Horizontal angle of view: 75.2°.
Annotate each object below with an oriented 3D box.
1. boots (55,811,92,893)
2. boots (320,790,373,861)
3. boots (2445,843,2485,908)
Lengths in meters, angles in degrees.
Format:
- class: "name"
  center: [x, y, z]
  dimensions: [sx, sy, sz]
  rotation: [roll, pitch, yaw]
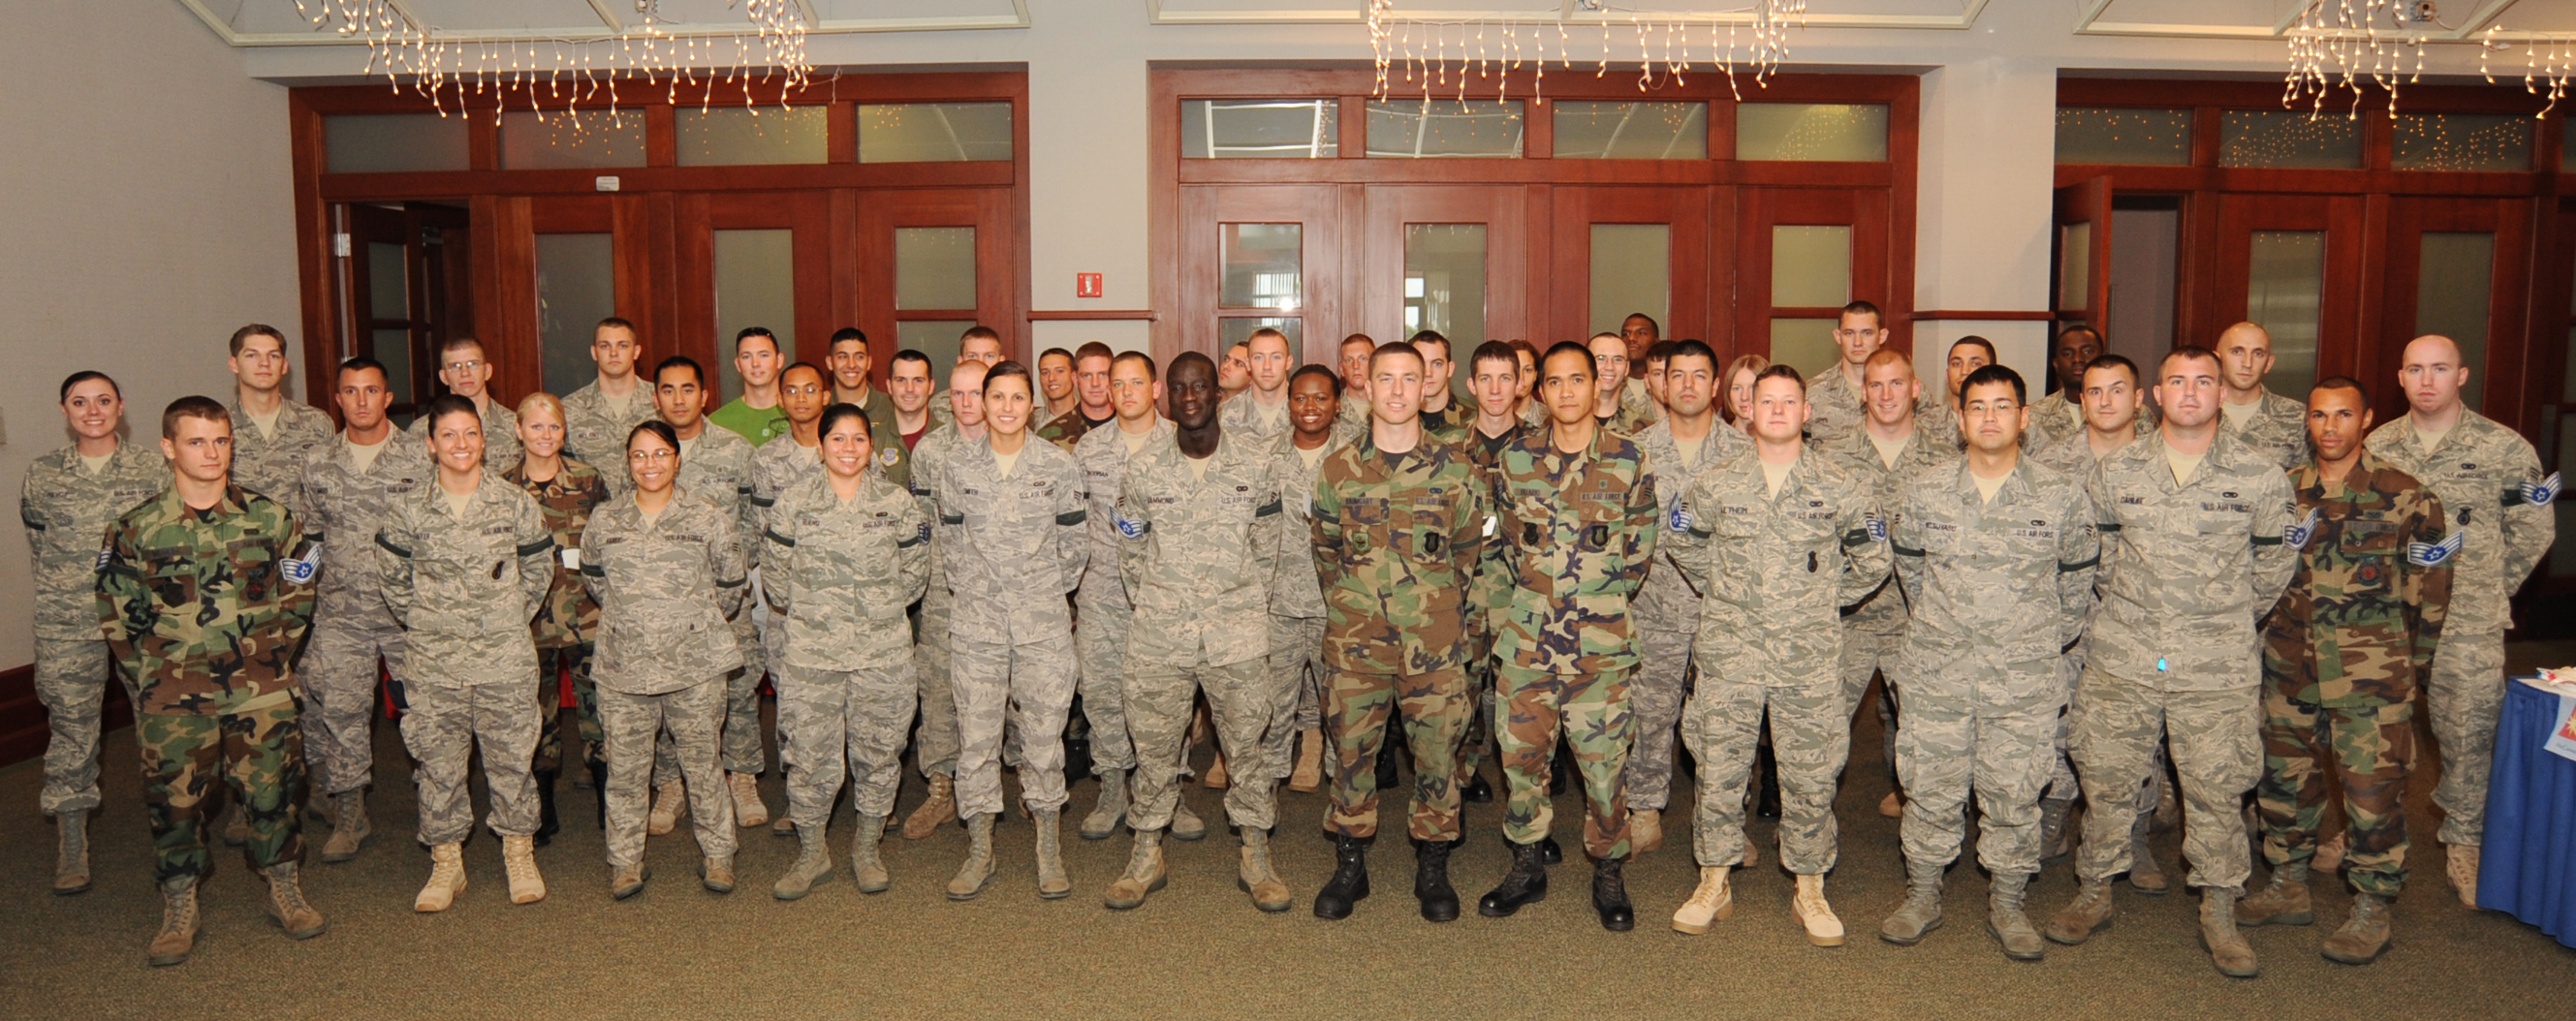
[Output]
- class: "boots"
  center: [-9.844, 2.716, 13.496]
  dimensions: [0.287, 0.640, 0.523]
  rotation: [-7, 9, -35]
- class: "boots"
  center: [-7.755, 2.563, 13.712]
  dimensions: [0.367, 0.545, 0.291]
  rotation: [-5, 8, -25]
- class: "boots"
  center: [9.229, 2.873, 13.176]
  dimensions: [0.380, 0.383, 0.165]
  rotation: [1, 6, 28]
